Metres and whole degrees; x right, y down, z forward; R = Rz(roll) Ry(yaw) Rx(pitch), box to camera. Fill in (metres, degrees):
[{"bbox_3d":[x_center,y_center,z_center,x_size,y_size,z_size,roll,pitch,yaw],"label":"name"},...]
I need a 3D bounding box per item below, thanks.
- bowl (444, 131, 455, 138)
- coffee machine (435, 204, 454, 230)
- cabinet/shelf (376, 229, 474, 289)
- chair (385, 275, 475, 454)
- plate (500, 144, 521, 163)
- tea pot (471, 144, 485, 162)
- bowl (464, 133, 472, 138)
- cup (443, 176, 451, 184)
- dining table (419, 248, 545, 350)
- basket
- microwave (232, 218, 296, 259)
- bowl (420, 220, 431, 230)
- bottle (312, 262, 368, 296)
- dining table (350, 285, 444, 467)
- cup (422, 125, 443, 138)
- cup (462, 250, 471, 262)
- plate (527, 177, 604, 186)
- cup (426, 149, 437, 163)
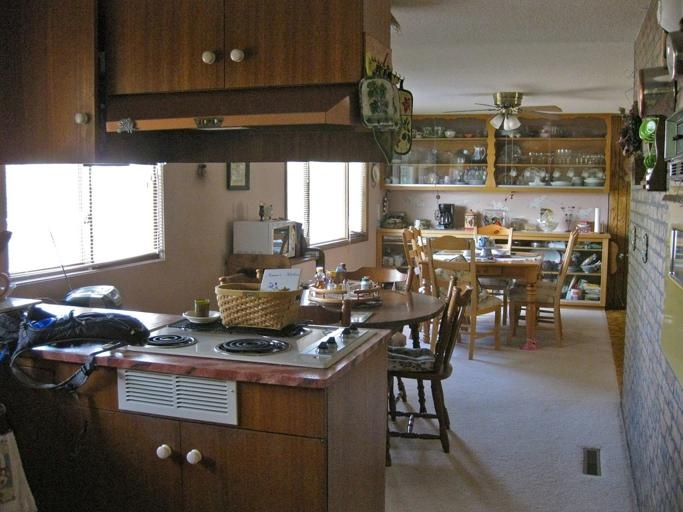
[{"bbox_3d":[1.504,-1.688,8.155,0.110,0.070,0.089,-3,5,14],"label":"bowl"},{"bbox_3d":[1.483,-0.577,8.533,0.282,0.326,0.334,0,-2,31],"label":"coffee machine"},{"bbox_3d":[0.897,0.012,6.136,0.848,0.747,0.264,0,-2,7],"label":"cabinet/shelf"},{"bbox_3d":[0.531,0.665,3.612,0.488,1.009,0.646,1,9,4],"label":"chair"},{"bbox_3d":[2.279,-1.396,7.926,0.243,0.233,0.057,19,16,24],"label":"plate"},{"bbox_3d":[1.882,-1.403,7.934,0.227,0.207,0.160,2,4,24],"label":"tea pot"},{"bbox_3d":[1.741,-1.656,8.096,0.070,0.024,0.069,-1,0,0],"label":"bowl"},{"bbox_3d":[1.478,-1.070,8.224,0.102,0.109,0.099,-1,4,0],"label":"cup"},{"bbox_3d":[1.573,0.358,5.961,0.817,0.721,1.026,1,5,26],"label":"dining table"},{"bbox_3d":[-0.343,0.206,2.404,0.261,0.106,0.206,2,4,17],"label":"basket"},{"bbox_3d":[-0.691,-0.225,5.054,0.333,0.258,0.513,1,3,17],"label":"microwave"},{"bbox_3d":[1.216,-0.460,8.502,0.129,0.088,0.125,0,9,0],"label":"bowl"},{"bbox_3d":[-0.007,0.159,3.813,0.239,0.087,0.233,-2,4,0],"label":"bottle"},{"bbox_3d":[0.369,0.696,3.629,0.924,0.912,0.859,-1,2,0],"label":"dining table"},{"bbox_3d":[1.281,-1.727,8.220,0.228,0.091,0.192,-1,0,36],"label":"cup"},{"bbox_3d":[1.263,-0.005,5.939,0.057,0.054,0.102,-3,12,16],"label":"cup"},{"bbox_3d":[2.932,-0.971,7.699,0.925,0.128,0.085,2,9,16],"label":"plate"},{"bbox_3d":[1.272,-1.403,8.246,0.179,0.177,0.165,0,4,0],"label":"cup"}]
